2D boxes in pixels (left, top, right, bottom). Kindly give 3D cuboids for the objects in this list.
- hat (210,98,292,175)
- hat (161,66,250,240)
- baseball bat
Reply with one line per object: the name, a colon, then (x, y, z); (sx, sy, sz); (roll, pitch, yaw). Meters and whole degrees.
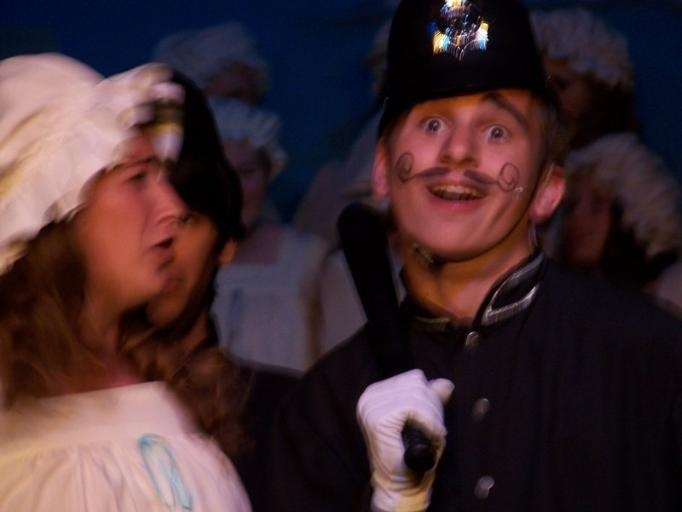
hat: (-0.281, -0.396, 3.142); (0.140, 0.245, 0.226); (17, 28, 38)
hat: (-0.398, -0.291, 2.980); (0.263, 0.423, 0.225); (-6, 5, 22)
baseball bat: (0.095, 0.132, 2.869); (0.154, 0.939, 0.139); (-18, -17, 21)
